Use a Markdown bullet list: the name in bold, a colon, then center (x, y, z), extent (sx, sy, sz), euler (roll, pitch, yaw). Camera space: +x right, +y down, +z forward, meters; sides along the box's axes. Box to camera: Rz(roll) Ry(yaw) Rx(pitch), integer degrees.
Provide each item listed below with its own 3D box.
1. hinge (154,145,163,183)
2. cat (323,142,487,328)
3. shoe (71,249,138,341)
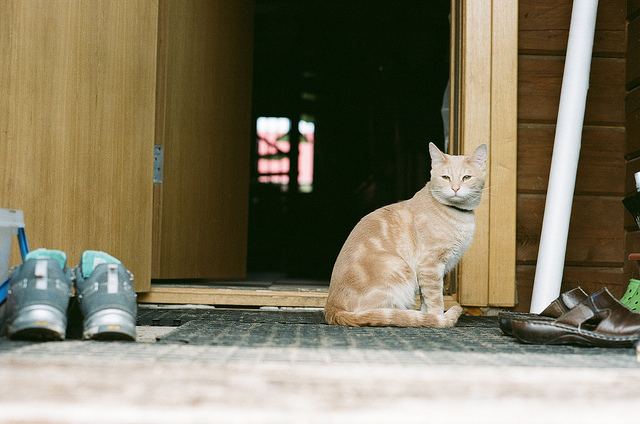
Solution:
- **hinge**: center (-0.834, -0.247, 3.753), extent (0.043, 0.187, 0.062), euler (-2, 13, -5)
- **cat**: center (0.361, 0.083, 3.100), extent (0.589, 0.699, 0.581), euler (4, 14, 16)
- **shoe**: center (-0.807, 0.306, 2.719), extent (0.220, 0.259, 0.335), euler (-5, 14, -19)
